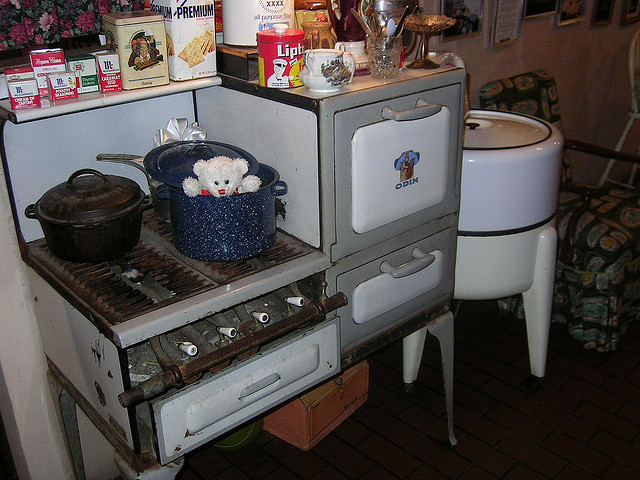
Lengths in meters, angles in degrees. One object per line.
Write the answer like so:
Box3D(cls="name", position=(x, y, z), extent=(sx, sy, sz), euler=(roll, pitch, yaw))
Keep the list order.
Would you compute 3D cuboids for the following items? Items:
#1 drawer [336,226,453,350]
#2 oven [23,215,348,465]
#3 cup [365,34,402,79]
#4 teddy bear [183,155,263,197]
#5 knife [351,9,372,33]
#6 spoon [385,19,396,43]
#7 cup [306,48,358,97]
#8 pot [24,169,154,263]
Box3D(cls="drawer", position=(0.215, 0.160, 1.783), extent=(0.522, 0.247, 0.352), euler=(-20, 21, -37))
Box3D(cls="oven", position=(-0.384, 0.207, 1.492), extent=(0.743, 0.448, 0.708), euler=(-25, 40, -37))
Box3D(cls="cup", position=(0.184, -0.568, 1.638), extent=(0.122, 0.133, 0.121), euler=(-1, 23, 0))
Box3D(cls="teddy bear", position=(-0.275, -0.155, 1.437), extent=(0.205, 0.130, 0.122), euler=(-7, 39, -20))
Box3D(cls="knife", position=(0.124, -0.653, 1.587), extent=(0.059, 0.064, 0.061), euler=(-3, 28, 4))
Box3D(cls="spoon", position=(0.204, -0.611, 1.556), extent=(0.036, 0.060, 0.017), euler=(-16, 30, -20))
Box3D(cls="cup", position=(0.039, -0.481, 1.492), extent=(0.109, 0.116, 0.170), euler=(22, 36, 38))
Box3D(cls="pot", position=(-0.627, -0.070, 1.435), extent=(0.249, 0.191, 0.303), euler=(-4, 16, -14))
